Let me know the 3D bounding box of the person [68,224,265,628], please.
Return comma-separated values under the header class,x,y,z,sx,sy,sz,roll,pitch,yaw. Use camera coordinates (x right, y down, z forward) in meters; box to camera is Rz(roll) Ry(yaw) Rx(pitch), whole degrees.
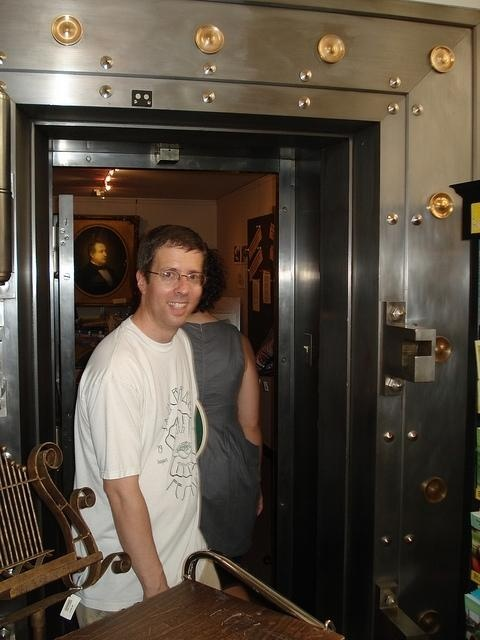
class,x,y,z,sx,sy,sz,roll,pitch,yaw
person,-0.220,0.216,1.452,0.398,0.937,0.352,-5,6,-32
